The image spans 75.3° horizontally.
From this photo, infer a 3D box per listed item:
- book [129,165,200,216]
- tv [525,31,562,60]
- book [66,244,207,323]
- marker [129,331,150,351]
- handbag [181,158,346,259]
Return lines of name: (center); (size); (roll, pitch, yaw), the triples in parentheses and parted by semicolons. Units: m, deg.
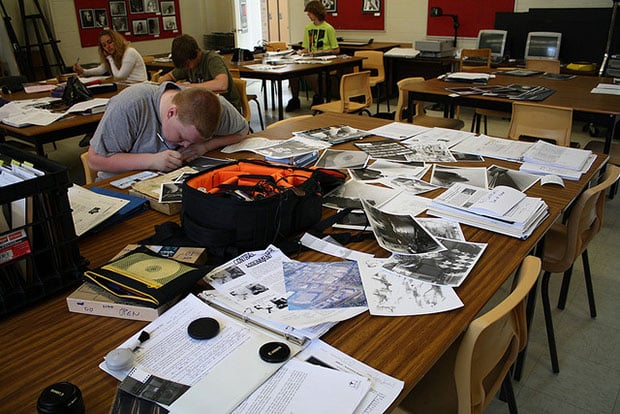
book: (-0.717, -0.060, 1.953); (0.300, 0.058, 0.302); (18, 33, 31)
tv: (3.223, -2.227, 5.567); (0.443, 0.364, 0.383); (20, 35, 39)
book: (-0.573, 0.256, 1.342); (0.324, 0.055, 0.274); (10, 27, 20)
marker: (-0.501, 0.397, 1.193); (0.029, 0.020, 0.058); (19, 36, 15)
handbag: (-0.265, 0.030, 1.639); (0.561, 0.180, 0.499); (9, 23, 28)
